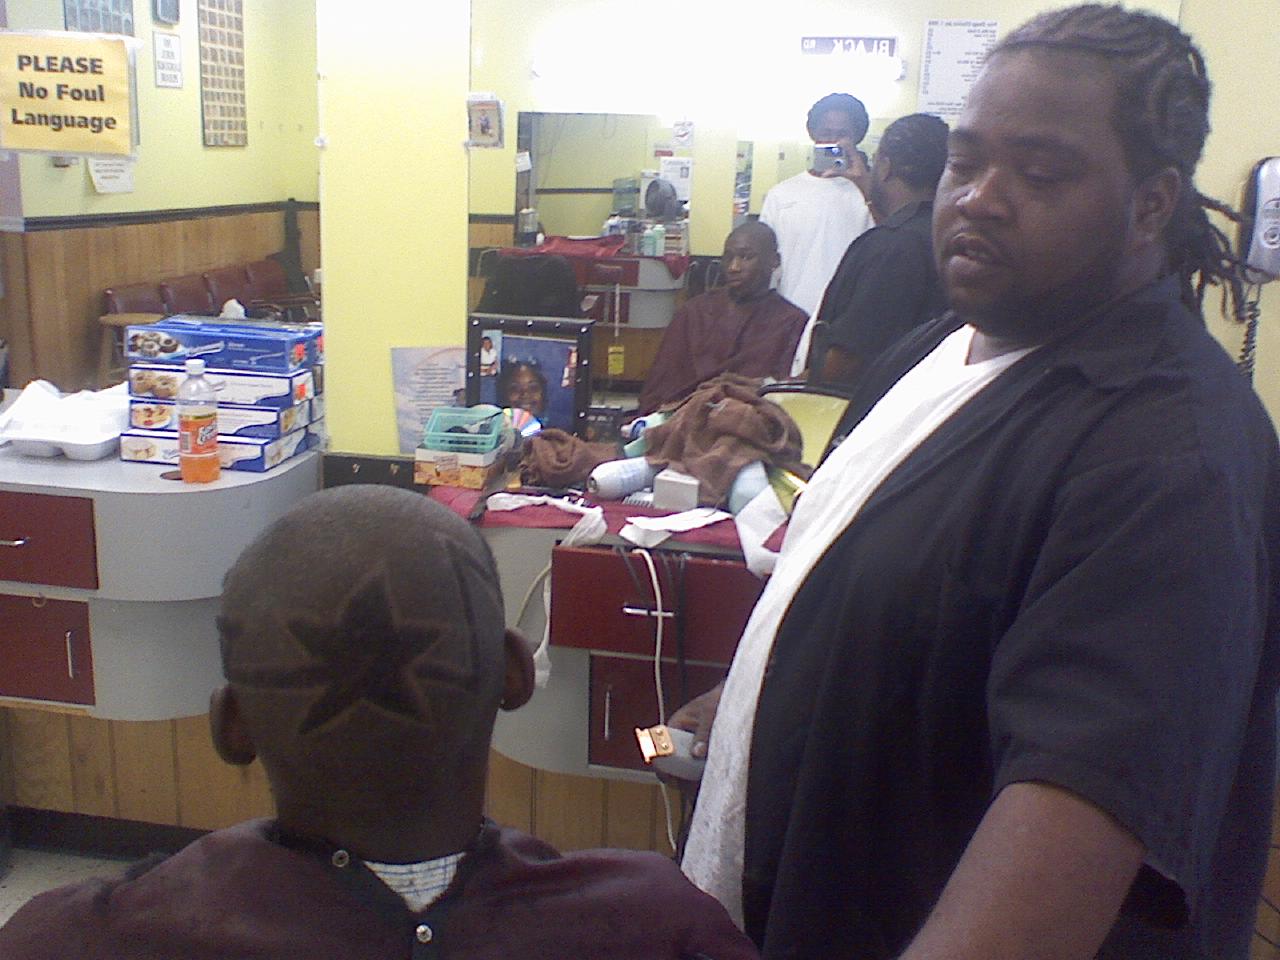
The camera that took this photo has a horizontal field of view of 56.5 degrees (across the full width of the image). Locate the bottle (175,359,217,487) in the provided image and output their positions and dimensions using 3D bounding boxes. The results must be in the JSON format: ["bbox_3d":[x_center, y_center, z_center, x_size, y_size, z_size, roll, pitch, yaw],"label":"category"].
[{"bbox_3d":[-0.848,-0.119,2.297,0.076,0.225,0.155,-3,12,-20],"label":"bottle"}]

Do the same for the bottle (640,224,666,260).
[{"bbox_3d":[0.029,-0.464,2.314,0.052,0.062,0.051,0,8,-1],"label":"bottle"}]

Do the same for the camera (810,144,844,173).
[{"bbox_3d":[0.362,-0.617,2.286,0.056,0.051,0.029,1,2,3],"label":"camera"}]

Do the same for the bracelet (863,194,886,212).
[{"bbox_3d":[0.450,-0.531,2.280,0.029,0.029,0.008,2,9,39],"label":"bracelet"}]

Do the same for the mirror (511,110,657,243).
[{"bbox_3d":[-0.094,-0.595,2.327,0.261,0.262,0.014,1,7,-1],"label":"mirror"}]
